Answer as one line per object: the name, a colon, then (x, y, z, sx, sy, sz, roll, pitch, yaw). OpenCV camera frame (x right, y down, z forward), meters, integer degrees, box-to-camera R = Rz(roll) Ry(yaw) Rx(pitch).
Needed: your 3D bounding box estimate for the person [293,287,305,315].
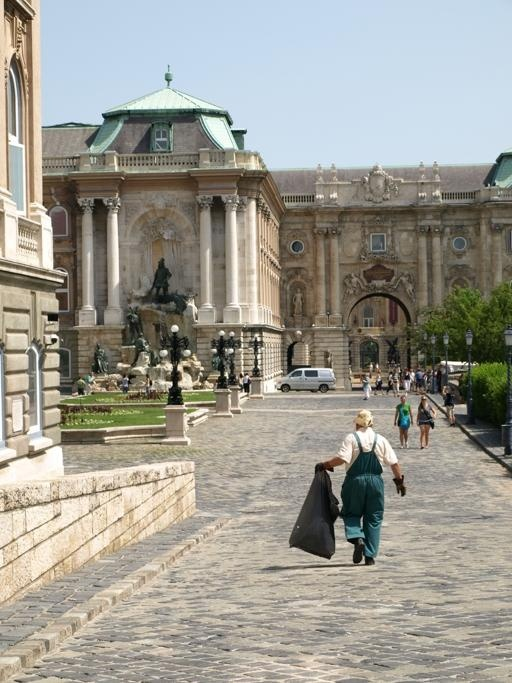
person: (3.564, -3.348, 84.788, 0.773, 2.454, 0.893, -1, -2, 44)

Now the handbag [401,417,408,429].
handbag: (4.116, 2.218, 27.827, 0.239, 0.306, 0.094, -5, -28, 16)

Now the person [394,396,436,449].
person: (4.874, 2.504, 30.917, 1.567, 1.983, 0.866, 1, -10, -3)

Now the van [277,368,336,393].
van: (3.576, 2.625, 69.776, 3.552, 1.315, 1.694, 1, -2, -2)

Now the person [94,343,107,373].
person: (-9.654, 1.193, 62.560, 0.811, 1.488, 0.993, 0, -1, -7)

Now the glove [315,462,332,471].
glove: (0.724, 1.334, 10.874, 0.156, 0.091, 0.308, 0, -2, 1)

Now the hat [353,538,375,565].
hat: (1.179, 2.287, 11.053, 0.233, 0.308, 0.431, 0, -1, 6)

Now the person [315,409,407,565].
person: (1.158, 1.605, 11.124, 0.743, 1.686, 1.034, -1, -1, 15)
